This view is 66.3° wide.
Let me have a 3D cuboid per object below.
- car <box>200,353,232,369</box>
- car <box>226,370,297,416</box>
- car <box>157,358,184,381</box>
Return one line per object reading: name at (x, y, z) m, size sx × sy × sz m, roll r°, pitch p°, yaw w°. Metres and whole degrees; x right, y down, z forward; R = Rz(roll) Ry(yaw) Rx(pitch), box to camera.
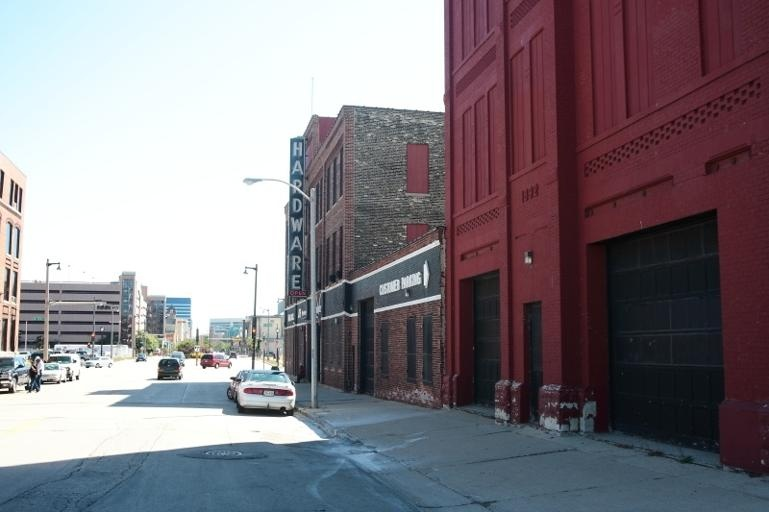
car at (-23.670, 15.284, 83.369) m, size 2.496 × 2.038 × 4.476 m, roll -3°, pitch -3°, yaw 30°
car at (-5.000, 5.667, 24.638) m, size 2.478 × 1.919 × 2.174 m, roll 1°, pitch -14°, yaw -5°
car at (-17.852, 9.343, 49.062) m, size 1.802 × 1.890 × 1.845 m, roll 6°, pitch -15°, yaw -24°
